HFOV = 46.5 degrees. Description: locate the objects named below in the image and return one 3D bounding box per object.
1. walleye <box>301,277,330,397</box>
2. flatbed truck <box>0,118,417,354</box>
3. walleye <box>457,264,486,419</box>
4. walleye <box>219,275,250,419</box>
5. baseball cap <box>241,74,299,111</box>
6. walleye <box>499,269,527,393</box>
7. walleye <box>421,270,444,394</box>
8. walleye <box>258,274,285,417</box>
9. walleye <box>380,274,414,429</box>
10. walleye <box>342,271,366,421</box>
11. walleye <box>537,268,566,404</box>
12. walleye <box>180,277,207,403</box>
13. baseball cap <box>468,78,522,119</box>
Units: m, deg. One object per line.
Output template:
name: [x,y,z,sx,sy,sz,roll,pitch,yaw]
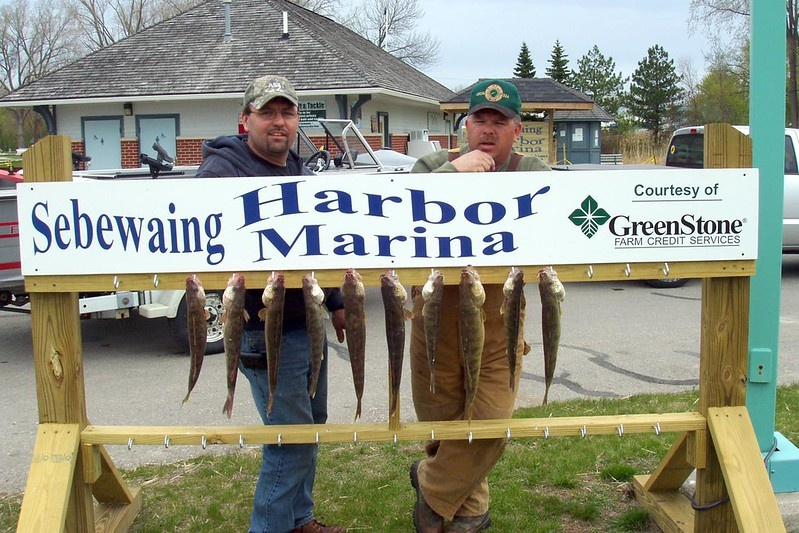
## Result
walleye: [-0.552,0.456,6.096,0.140,0.796,0.258,-2,4,-4]
flatbed truck: [-2.115,-0.142,10.879,2.708,1.658,4.602,2,5,38]
walleye: [0.480,0.524,6.126,0.156,1.046,0.202,-1,4,5]
walleye: [-1.072,0.541,6.064,0.157,0.963,0.421,-2,5,-10]
baseball cap: [-0.920,-1.205,6.494,0.339,0.259,0.475,-9,1,-18]
walleye: [0.738,0.400,6.103,0.164,0.864,0.211,1,-2,5]
walleye: [0.206,0.437,6.134,0.146,0.796,0.201,2,8,-1]
walleye: [-0.795,0.522,6.025,0.168,0.865,0.209,2,2,4]
walleye: [-0.021,0.557,6.155,0.200,0.989,0.250,1,8,6]
walleye: [-0.291,0.518,6.045,0.141,0.986,0.289,-2,4,-4]
walleye: [1.000,0.480,6.146,0.156,0.944,0.577,-1,5,10]
walleye: [-1.341,0.499,6.102,0.165,0.872,0.640,-2,5,-13]
baseball cap: [0.681,-1.179,6.619,0.385,0.301,0.571,5,2,6]
